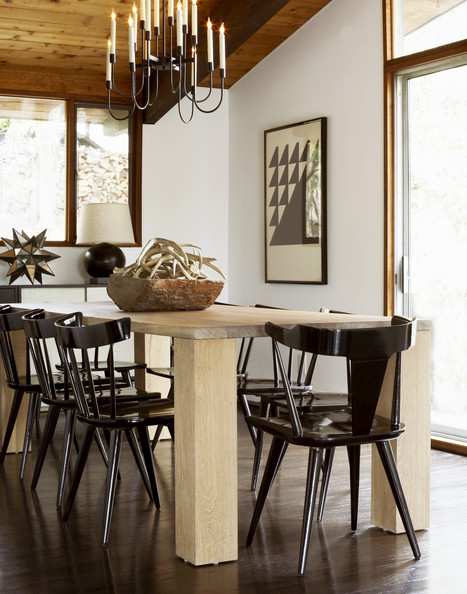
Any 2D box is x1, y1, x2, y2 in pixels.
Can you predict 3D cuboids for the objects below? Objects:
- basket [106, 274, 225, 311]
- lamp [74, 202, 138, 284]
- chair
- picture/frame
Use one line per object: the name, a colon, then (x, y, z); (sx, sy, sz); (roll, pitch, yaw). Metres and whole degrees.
basket: (-0.308, -0.023, 2.574); (0.395, 0.146, 0.421); (0, 6, -30)
lamp: (-1.001, -0.430, 4.734); (0.428, 0.619, 0.357); (1, -4, -15)
chair: (-0.170, 0.419, 2.174); (1.638, 0.794, 0.929); (-1, -4, 25)
picture/frame: (0.485, -0.743, 4.742); (0.222, 1.315, 0.843); (1, -4, -20)
